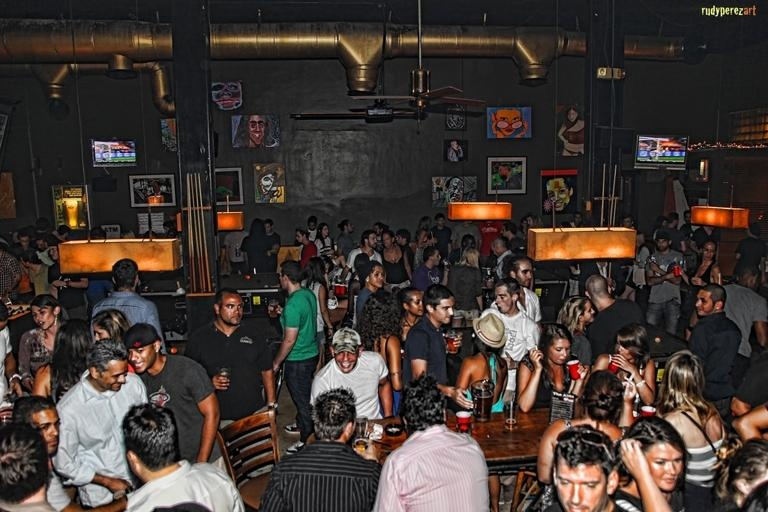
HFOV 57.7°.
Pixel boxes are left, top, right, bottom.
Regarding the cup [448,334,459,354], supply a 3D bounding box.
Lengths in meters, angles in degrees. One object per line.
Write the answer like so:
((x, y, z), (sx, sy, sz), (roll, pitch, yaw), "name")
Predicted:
((0.699, 0.901, 7.090), (0.144, 0.167, 0.146), (0, 6, 0), "cup")

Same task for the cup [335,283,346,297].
((-0.638, 0.494, 10.137), (0.151, 0.154, 0.156), (0, -4, 0), "cup")

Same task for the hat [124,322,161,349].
((-2.267, 0.717, 6.563), (0.196, 0.166, 0.276), (0, 16, 18), "hat")

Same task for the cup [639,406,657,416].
((2.421, 1.407, 6.384), (0.107, 0.084, 0.099), (-1, 6, 0), "cup")

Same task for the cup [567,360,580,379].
((1.885, 1.138, 6.972), (0.141, 0.173, 0.170), (-3, -5, -2), "cup")

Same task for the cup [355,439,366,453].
((-0.212, 1.697, 6.245), (0.087, 0.070, 0.092), (0, 3, 0), "cup")

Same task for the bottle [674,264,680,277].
((4.168, 0.212, 9.909), (0.072, 0.081, 0.138), (-10, -35, 25), "bottle")
